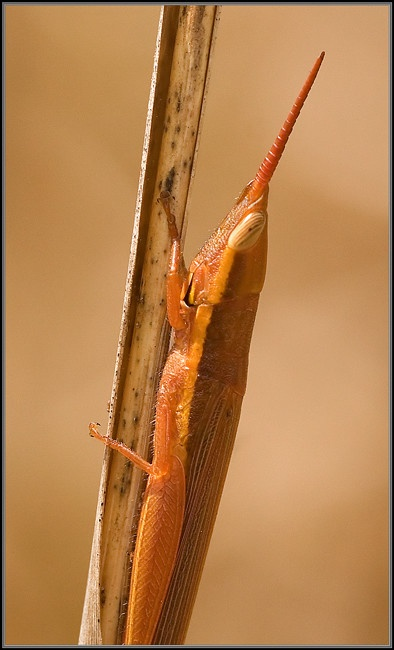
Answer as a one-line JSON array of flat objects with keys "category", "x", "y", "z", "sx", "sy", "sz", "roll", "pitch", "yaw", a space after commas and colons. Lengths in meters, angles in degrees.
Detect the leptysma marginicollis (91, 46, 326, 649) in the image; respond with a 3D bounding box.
[{"category": "leptysma marginicollis", "x": 0.008, "y": 0.075, "z": 0.941, "sx": 0.101, "sy": 0.189, "sz": 0.686, "roll": 7, "pitch": -86, "yaw": 16}]
